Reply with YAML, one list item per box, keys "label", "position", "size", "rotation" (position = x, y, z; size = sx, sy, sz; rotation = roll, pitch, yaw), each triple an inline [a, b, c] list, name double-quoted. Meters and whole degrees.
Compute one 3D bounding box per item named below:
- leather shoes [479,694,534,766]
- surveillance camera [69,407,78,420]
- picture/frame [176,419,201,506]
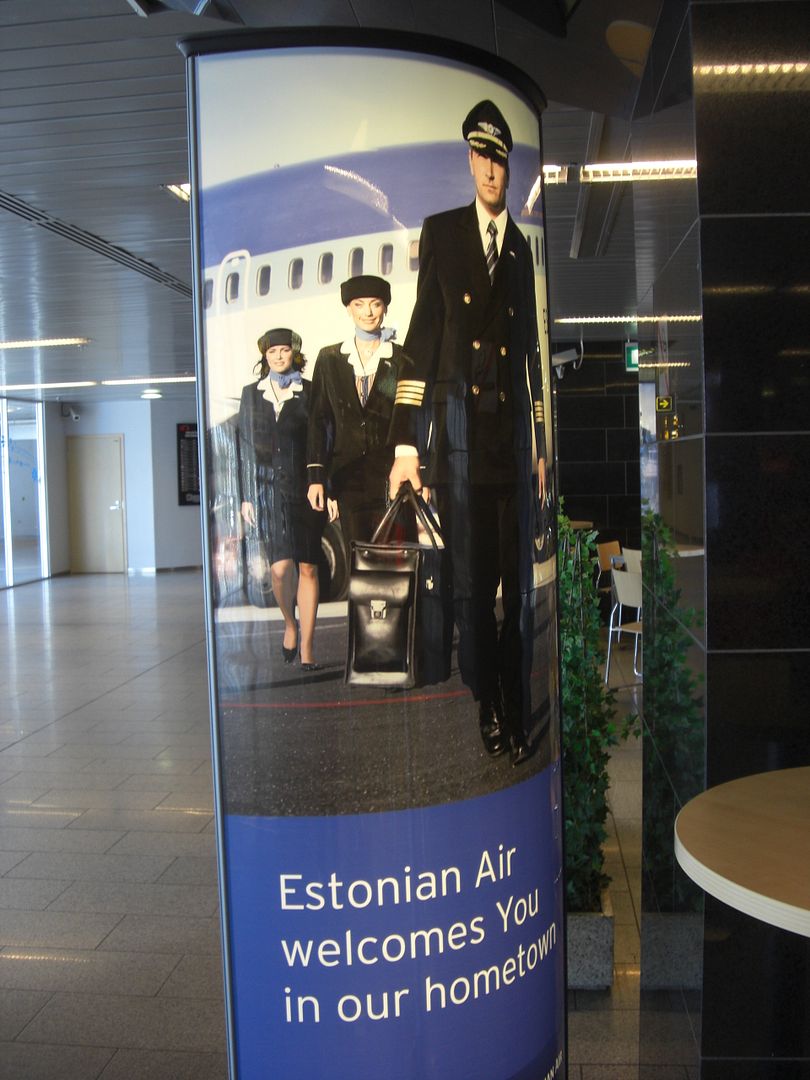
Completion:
- label: "leather shoes"
  position: [0.169, 0.332, 1.556]
  size: [0.055, 0.154, 0.054]
  rotation: [-24, 29, 4]
- label: "surveillance camera"
  position: [-6.031, -2.375, 16.724]
  size: [0.133, 0.270, 0.160]
  rotation: [1, 3, 21]
- label: "picture/frame"
  position: [-3.968, -1.388, 16.654]
  size: [0.336, 1.543, 0.440]
  rotation: [-1, 2, -5]
